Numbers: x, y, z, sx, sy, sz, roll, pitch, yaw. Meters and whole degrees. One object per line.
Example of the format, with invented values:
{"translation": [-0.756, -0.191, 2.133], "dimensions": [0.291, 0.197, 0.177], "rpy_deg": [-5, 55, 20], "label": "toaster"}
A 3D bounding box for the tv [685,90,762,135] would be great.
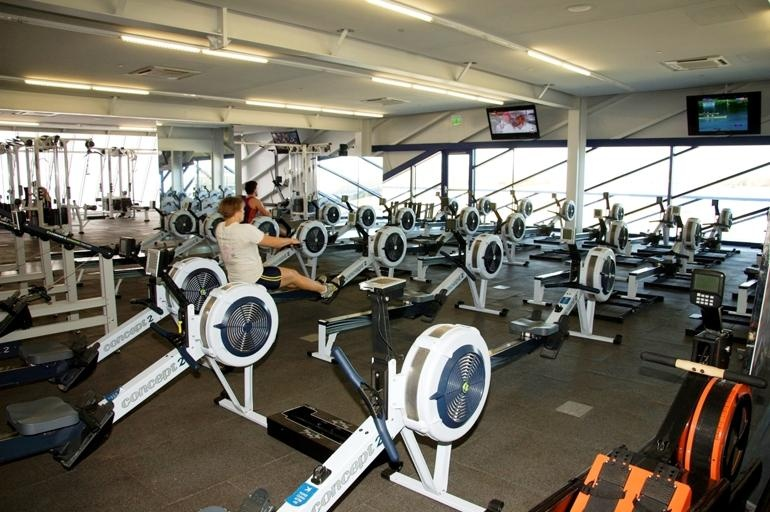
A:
{"translation": [7.351, -3.090, 10.713], "dimensions": [1.294, 0.722, 0.127], "rpy_deg": [8, 22, 37], "label": "tv"}

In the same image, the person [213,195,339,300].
{"translation": [-1.161, -0.011, 4.972], "dimensions": [0.763, 1.179, 1.967], "rpy_deg": [3, 8, 14], "label": "person"}
